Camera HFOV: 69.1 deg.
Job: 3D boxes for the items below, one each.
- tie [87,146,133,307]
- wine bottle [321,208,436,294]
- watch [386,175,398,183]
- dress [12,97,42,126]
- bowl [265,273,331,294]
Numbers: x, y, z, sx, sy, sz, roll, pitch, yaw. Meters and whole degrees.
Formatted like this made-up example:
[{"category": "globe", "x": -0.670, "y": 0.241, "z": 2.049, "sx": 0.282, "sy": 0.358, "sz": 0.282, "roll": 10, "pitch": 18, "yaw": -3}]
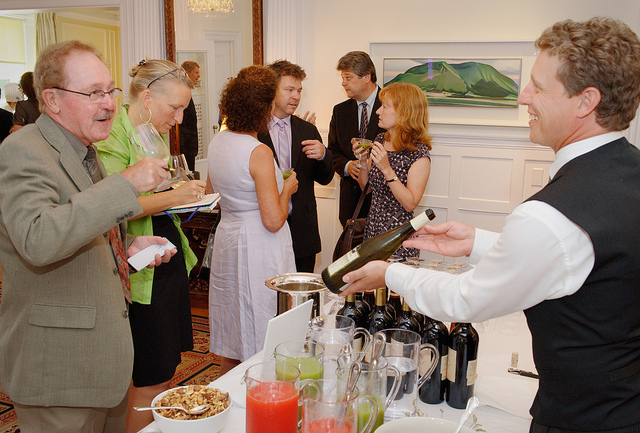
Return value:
[{"category": "tie", "x": -0.881, "y": 0.135, "z": 1.960, "sx": 0.113, "sy": 1.052, "sz": 0.124, "roll": 1, "pitch": -2, "yaw": 28}, {"category": "wine bottle", "x": 0.295, "y": 0.143, "z": 2.246, "sx": 0.661, "sy": 0.164, "sz": 0.177, "roll": -35, "pitch": 50, "yaw": -2}, {"category": "watch", "x": 0.506, "y": -0.259, "z": 3.203, "sx": 0.050, "sy": 0.031, "sz": 0.052, "roll": -19, "pitch": 4, "yaw": 30}, {"category": "dress", "x": -3.524, "y": -1.236, "z": 5.515, "sx": 0.252, "sy": 0.326, "sz": 0.336, "roll": -4, "pitch": 14, "yaw": -35}, {"category": "bowl", "x": -0.100, "y": 0.282, "z": 1.922, "sx": 0.249, "sy": 0.055, "sz": 0.190, "roll": 2, "pitch": 11, "yaw": -8}]
